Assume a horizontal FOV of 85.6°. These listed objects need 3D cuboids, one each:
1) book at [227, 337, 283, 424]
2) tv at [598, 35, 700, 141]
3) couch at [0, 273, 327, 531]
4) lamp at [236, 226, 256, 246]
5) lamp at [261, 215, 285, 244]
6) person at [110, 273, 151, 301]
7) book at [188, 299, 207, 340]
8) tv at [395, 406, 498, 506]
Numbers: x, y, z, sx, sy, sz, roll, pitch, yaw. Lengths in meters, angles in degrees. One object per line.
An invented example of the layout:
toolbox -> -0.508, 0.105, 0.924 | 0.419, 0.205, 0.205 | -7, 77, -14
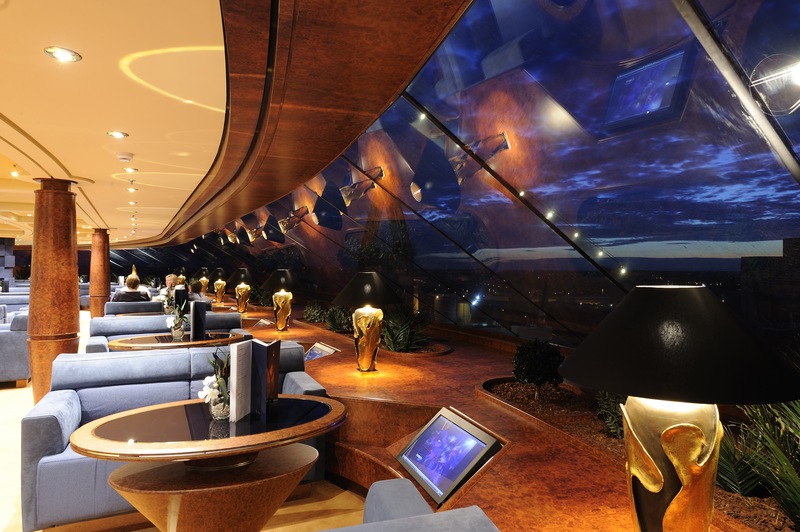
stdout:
book -> -1.037, 0.787, 3.185 | 0.489, 0.609, 0.489 | 1, 1, -27
tv -> 2.262, -1.553, 3.923 | 0.087, 0.634, 0.867 | 7, 5, -15
couch -> -2.600, 1.208, 4.238 | 2.726, 1.281, 1.421 | 3, -10, -25
lamp -> -5.115, -0.956, 14.472 | 0.261, 0.697, 0.743 | -45, 9, -23
lamp -> -3.591, -0.988, 12.334 | 0.744, 0.728, 0.176 | 16, 48, 17
person -> -9.438, 0.713, 15.244 | 0.931, 0.788, 0.487 | 2, 37, -23
book -> -2.701, 0.716, 5.702 | 0.183, 0.517, 0.208 | -5, -8, 25
tv -> 0.406, 1.625, 3.723 | 0.716, 0.153, 0.801 | -39, 24, -8
